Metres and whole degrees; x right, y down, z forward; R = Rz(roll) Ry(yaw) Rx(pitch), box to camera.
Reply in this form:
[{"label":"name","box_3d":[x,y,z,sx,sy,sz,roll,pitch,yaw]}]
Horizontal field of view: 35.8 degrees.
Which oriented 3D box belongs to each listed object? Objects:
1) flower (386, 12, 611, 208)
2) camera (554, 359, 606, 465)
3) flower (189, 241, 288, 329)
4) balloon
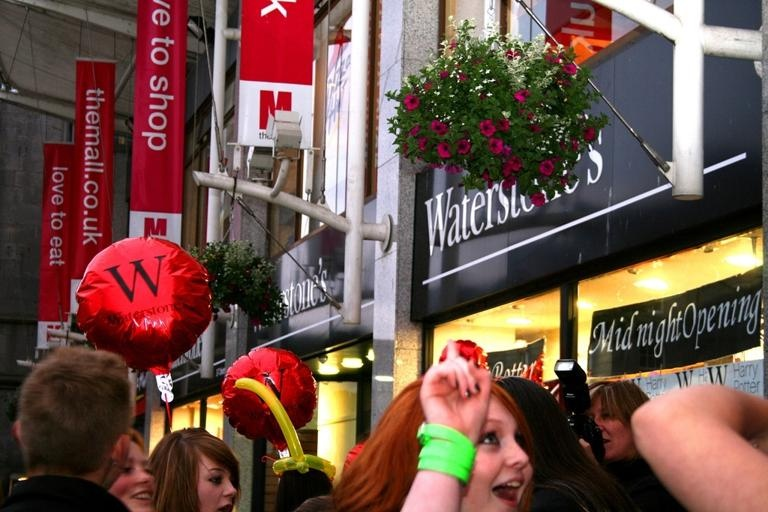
[{"label":"flower","box_3d":[0.849,-1.168,8.919,1.708,1.166,1.535,-7,-4,9]},{"label":"camera","box_3d":[1.152,0.874,6.967,0.285,0.656,0.264,1,1,23]},{"label":"flower","box_3d":[-1.664,0.391,13.791,1.163,0.822,1.155,-9,0,-3]},{"label":"balloon","box_3d":[-1.922,0.390,9.620,1.007,1.104,0.535,3,-22,-14]}]
